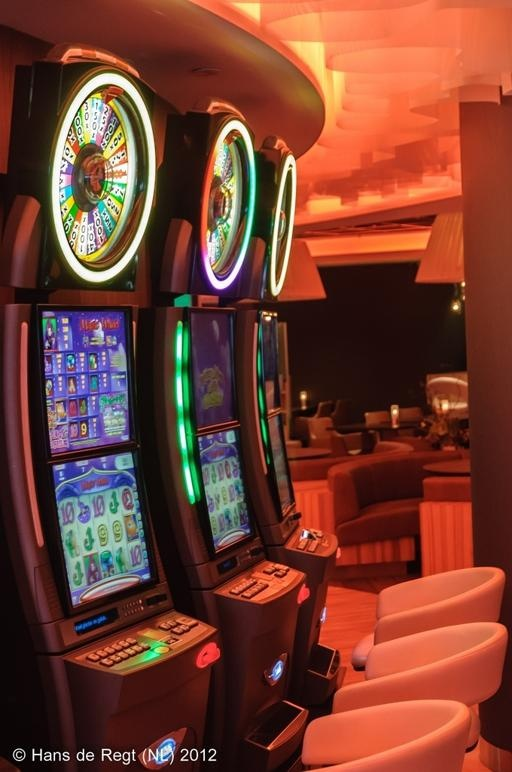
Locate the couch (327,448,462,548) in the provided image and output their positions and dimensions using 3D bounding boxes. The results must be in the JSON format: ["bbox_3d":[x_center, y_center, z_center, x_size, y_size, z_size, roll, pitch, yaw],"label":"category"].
[{"bbox_3d":[1.227,1.038,5.543,0.766,0.691,1.407,-1,9,30],"label":"couch"}]

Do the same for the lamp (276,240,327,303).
[{"bbox_3d":[0.415,-1.176,5.730,0.405,0.608,0.489,-2,8,25],"label":"lamp"}]

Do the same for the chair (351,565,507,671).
[{"bbox_3d":[0.584,0.703,2.148,0.548,0.513,0.471,-1,-4,5],"label":"chair"}]

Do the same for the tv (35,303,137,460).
[{"bbox_3d":[-0.428,-0.004,1.413,0.037,0.394,0.385,-2,2,17],"label":"tv"}]

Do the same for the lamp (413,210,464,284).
[{"bbox_3d":[1.554,-1.123,4.613,0.330,0.535,0.559,-7,7,-21],"label":"lamp"}]
